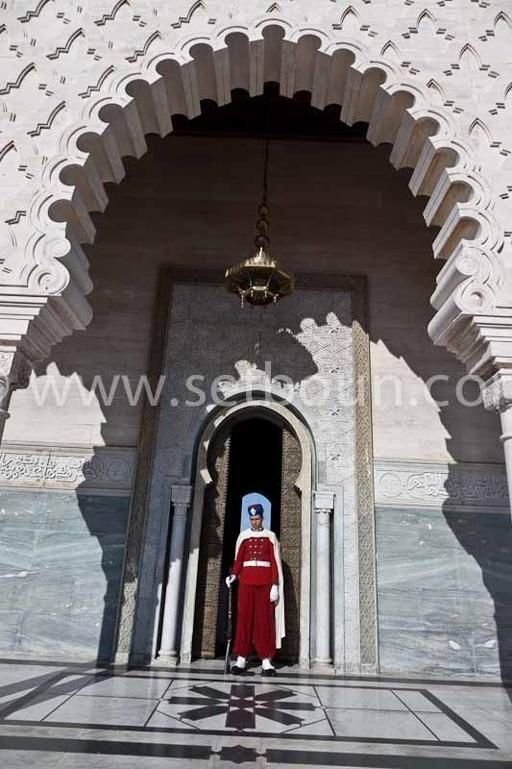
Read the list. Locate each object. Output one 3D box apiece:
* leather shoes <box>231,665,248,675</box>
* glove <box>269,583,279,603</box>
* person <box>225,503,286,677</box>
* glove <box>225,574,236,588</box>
[{"bbox_3d":[-0.100,1.726,3.294,0.045,0.060,0.136,-1,-24,11],"label":"leather shoes"},{"bbox_3d":[0.126,1.365,3.560,0.039,0.115,0.085,7,-19,-22],"label":"glove"},{"bbox_3d":[0.007,1.337,3.633,0.380,1.032,0.585,3,-21,4],"label":"person"},{"bbox_3d":[-0.158,1.300,3.591,0.041,0.082,0.116,3,-35,-29],"label":"glove"}]
